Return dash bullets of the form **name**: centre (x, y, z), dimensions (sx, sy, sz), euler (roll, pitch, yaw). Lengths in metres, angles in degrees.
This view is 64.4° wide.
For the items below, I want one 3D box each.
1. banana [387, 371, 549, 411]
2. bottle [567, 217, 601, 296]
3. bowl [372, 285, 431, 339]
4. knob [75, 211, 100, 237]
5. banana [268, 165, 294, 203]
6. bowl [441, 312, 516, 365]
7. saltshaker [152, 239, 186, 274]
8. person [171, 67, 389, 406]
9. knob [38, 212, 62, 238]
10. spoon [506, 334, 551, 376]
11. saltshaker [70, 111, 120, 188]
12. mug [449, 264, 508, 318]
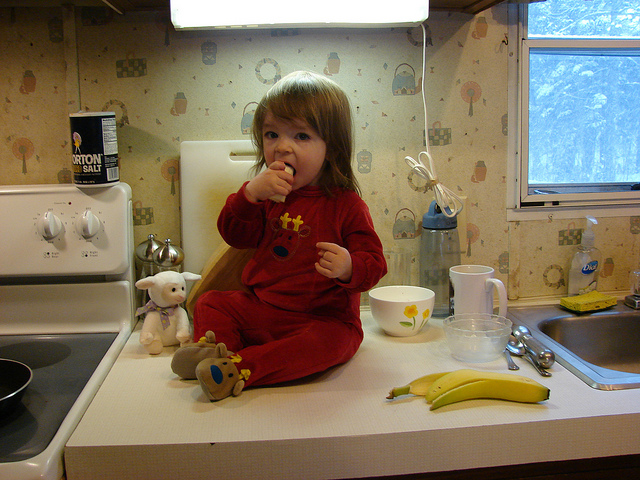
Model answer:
- **banana**: centre (0.307, 0.316, 1.125), dimensions (0.333, 0.053, 0.141), euler (-2, 8, -4)
- **bottle**: centre (0.824, 0.051, 1.593), dimensions (0.088, 0.246, 0.050), euler (2, 9, 25)
- **bowl**: centre (0.223, 0.196, 1.427), dimensions (0.144, 0.095, 0.142), euler (0, -3, 0)
- **knob**: centre (-0.612, -0.044, 1.339), dimensions (0.058, 0.065, 0.030), euler (-5, 9, -22)
- **banana**: centre (-0.089, -0.139, 1.227), dimensions (0.019, 0.077, 0.077), euler (9, 6, 17)
- **bowl**: centre (0.398, 0.245, 1.298), dimensions (0.160, 0.092, 0.180), euler (0, 8, 14)
- **saltshaker**: centre (-0.426, 0.056, 1.424), dimensions (0.087, 0.133, 0.084), euler (2, 18, -12)
- **person**: centre (-0.121, -0.049, 1.251), dimensions (0.522, 0.732, 0.374), euler (-5, 9, -18)
- **knob**: centre (-0.702, -0.038, 1.324), dimensions (0.049, 0.065, 0.053), euler (-3, -9, -15)
- **spoon**: centre (0.500, 0.272, 1.211), dimensions (0.032, 0.020, 0.140), euler (-2, 24, -5)
- **saltshaker**: centre (-0.609, -0.247, 1.384), dimensions (0.137, 0.190, 0.135), euler (-5, 12, -25)
- **mug**: centre (0.443, 0.152, 1.453), dimensions (0.146, 0.148, 0.193), euler (0, 8, 14)
